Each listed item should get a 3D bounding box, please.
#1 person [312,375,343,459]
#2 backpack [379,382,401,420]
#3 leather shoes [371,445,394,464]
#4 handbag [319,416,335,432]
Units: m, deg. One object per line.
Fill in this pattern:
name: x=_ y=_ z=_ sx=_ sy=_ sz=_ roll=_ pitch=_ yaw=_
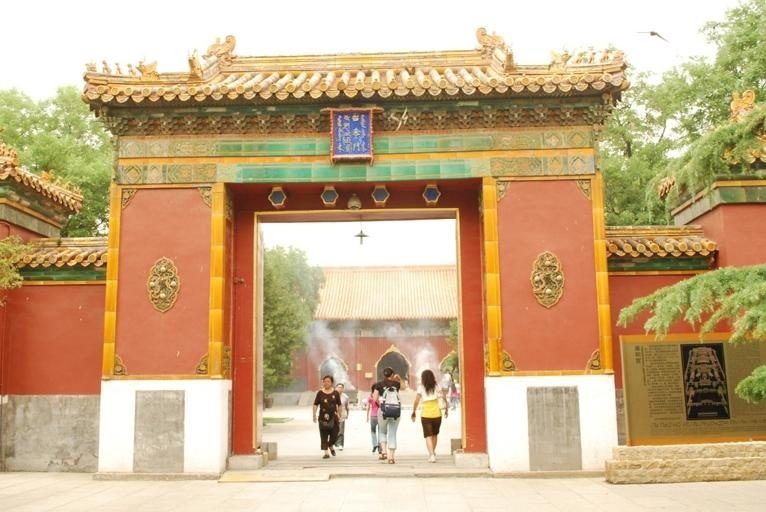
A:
person: x=-1.115 y=3.160 z=16.556 sx=0.524 sy=1.604 sz=1.210 roll=0 pitch=-6 yaw=-3
backpack: x=0.119 y=2.732 z=15.840 sx=0.361 sy=0.652 sz=0.486 roll=0 pitch=-6 yaw=-3
leather shoes: x=0.026 y=3.698 z=15.740 sx=0.183 sy=0.237 sz=0.564 roll=1 pitch=1 yaw=-8
handbag: x=-1.086 y=3.185 z=16.050 sx=0.348 sy=0.288 sz=0.158 roll=1 pitch=-14 yaw=-3
